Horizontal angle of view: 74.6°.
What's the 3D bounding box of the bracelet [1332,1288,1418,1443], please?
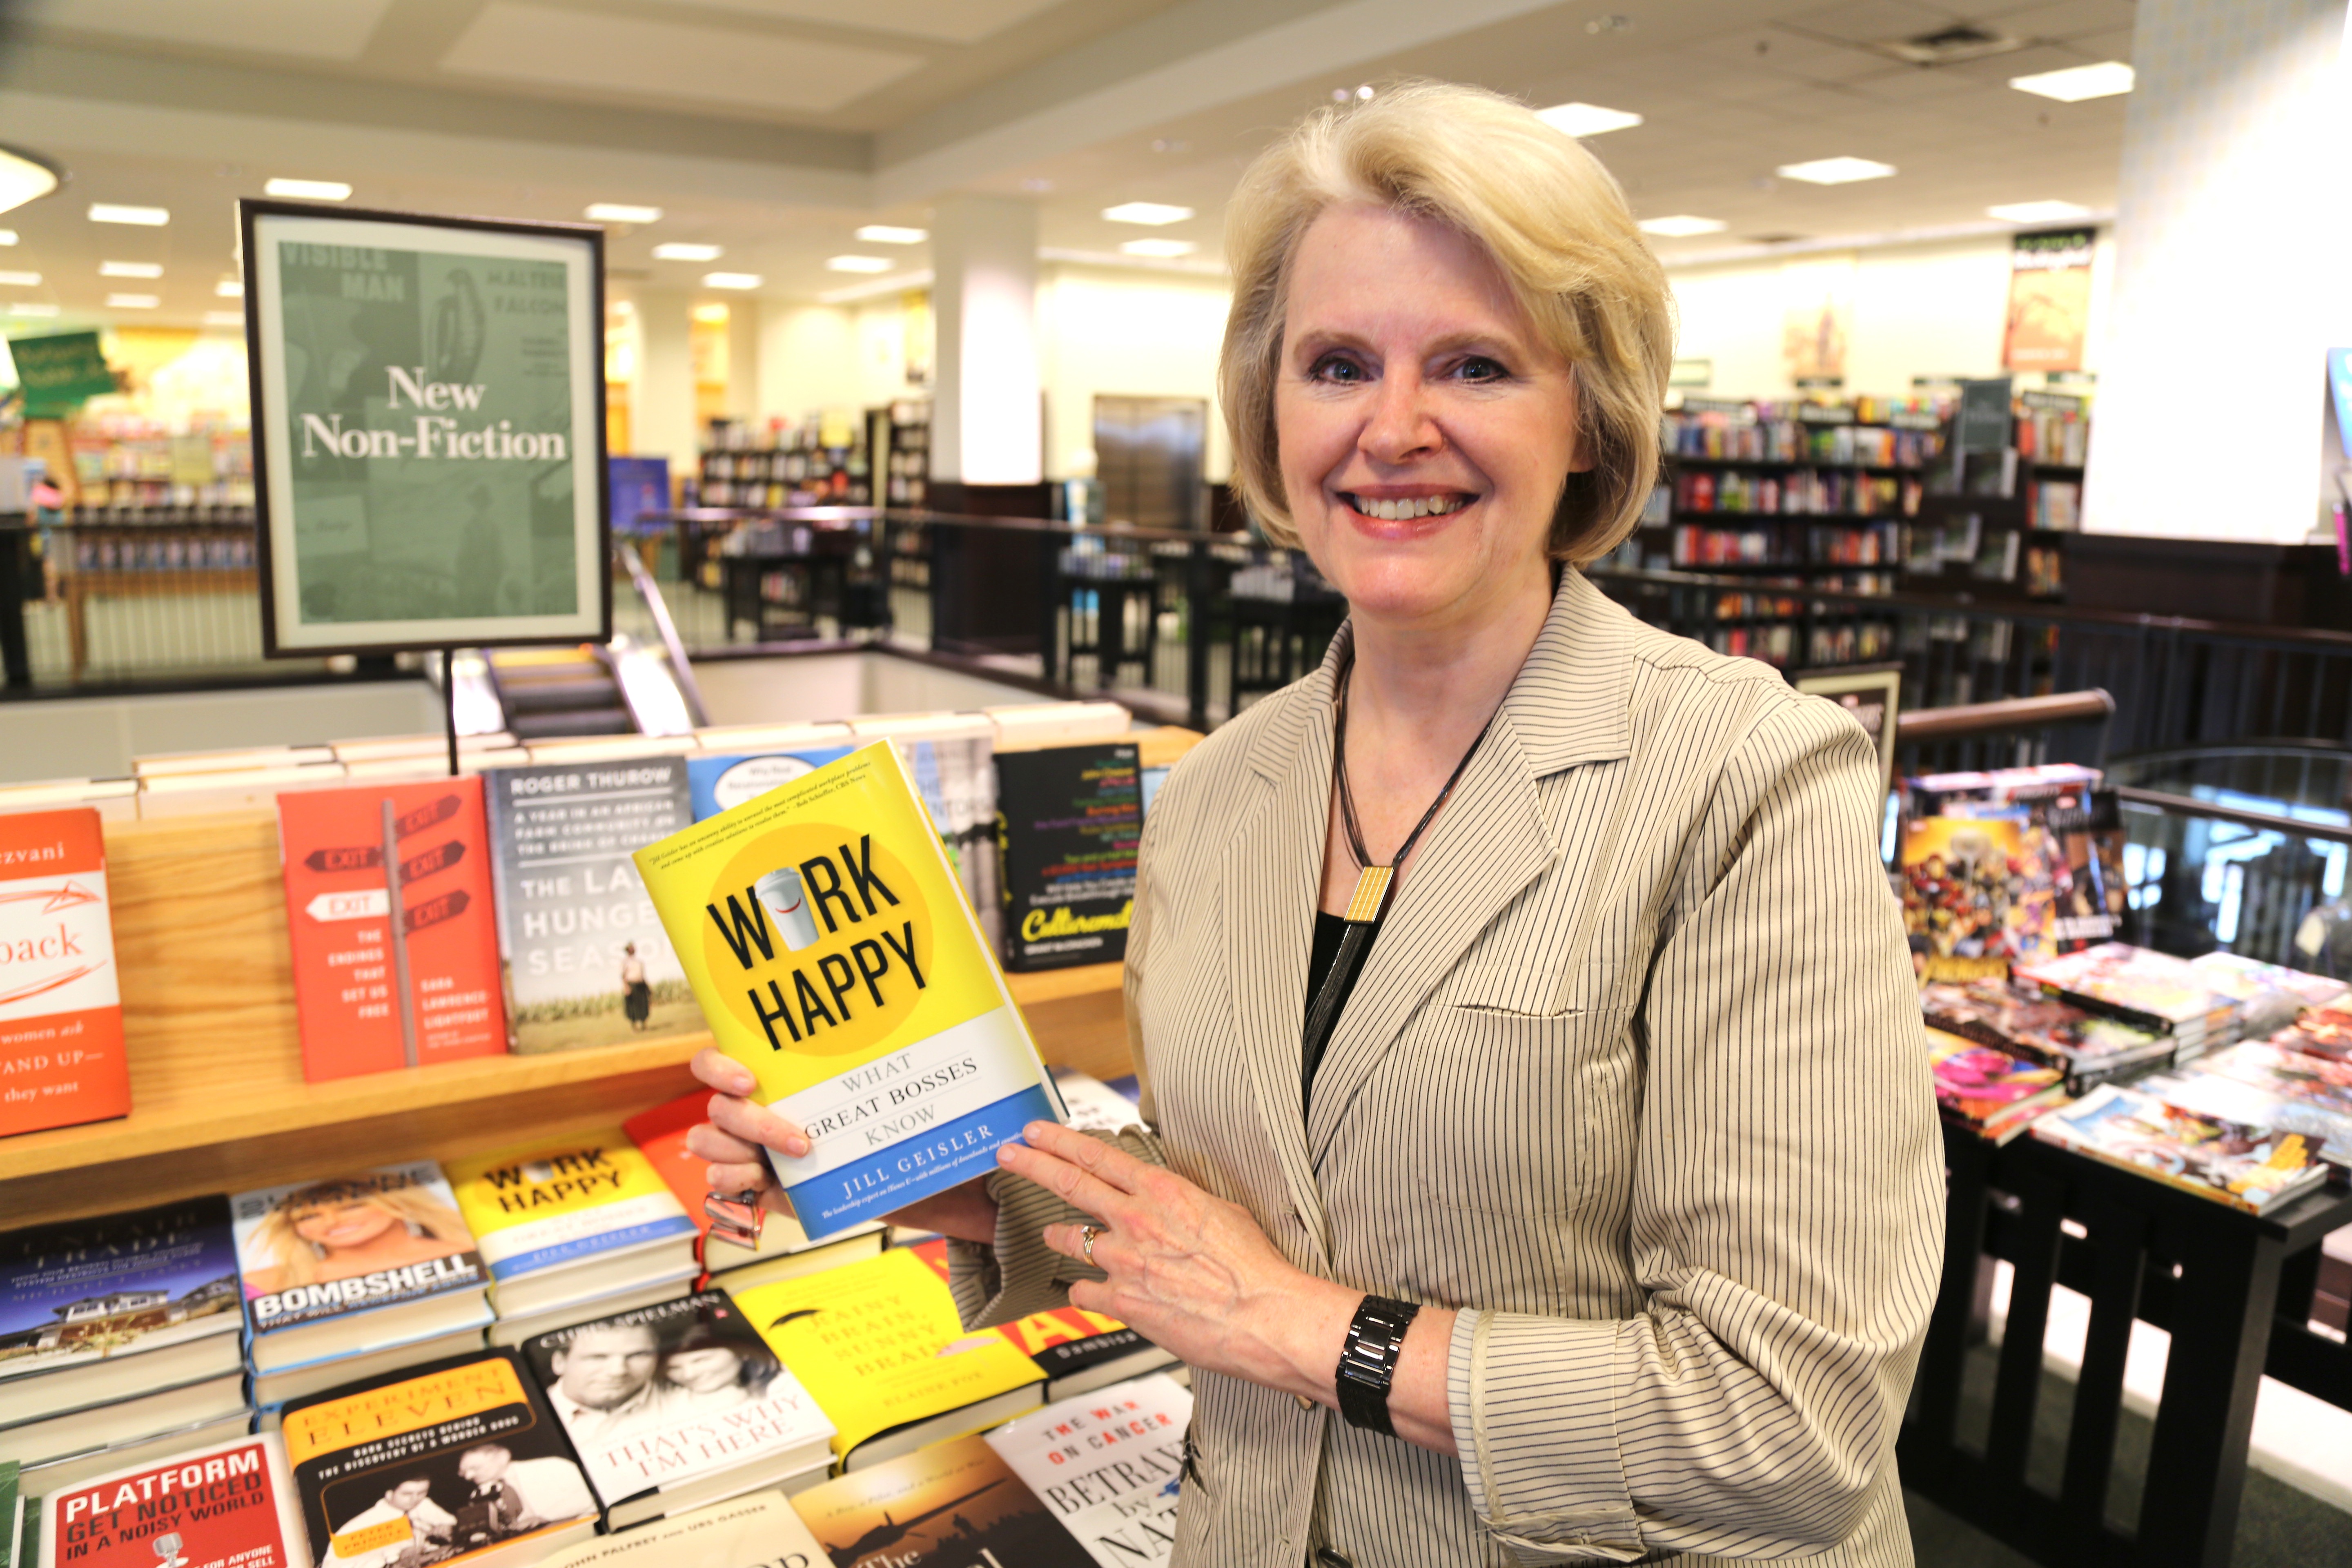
[{"bbox_3d":[0.191,0.574,1.530,0.081,0.127,0.127,8,-17,21],"label":"bracelet"}]
